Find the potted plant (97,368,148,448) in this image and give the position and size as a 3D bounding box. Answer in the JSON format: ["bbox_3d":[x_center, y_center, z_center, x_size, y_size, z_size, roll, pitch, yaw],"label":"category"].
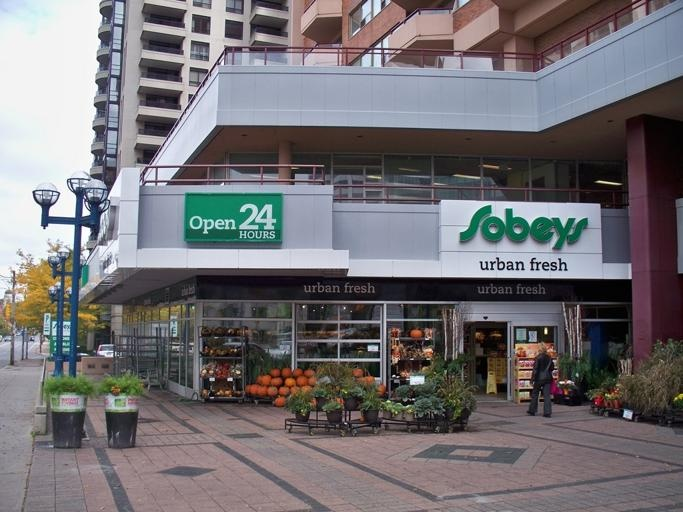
[{"bbox_3d":[-4.713,3.225,13.363,0.831,1.515,0.645,3,-6,-31],"label":"potted plant"}]

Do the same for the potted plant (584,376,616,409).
[{"bbox_3d":[7.711,4.058,18.475,1.056,0.821,1.182,-1,-4,8],"label":"potted plant"}]

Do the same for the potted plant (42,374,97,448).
[{"bbox_3d":[-5.725,3.224,13.279,1.001,1.441,0.912,7,-2,-36],"label":"potted plant"}]

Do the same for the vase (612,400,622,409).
[{"bbox_3d":[7.706,4.116,17.769,0.211,0.209,0.206,3,-11,-8],"label":"vase"}]

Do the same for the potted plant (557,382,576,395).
[{"bbox_3d":[7.229,4.261,20.613,0.248,0.449,0.674,5,-7,-41],"label":"potted plant"}]

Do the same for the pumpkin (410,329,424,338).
[{"bbox_3d":[2.449,2.566,21.247,0.286,0.252,0.281,2,-4,8],"label":"pumpkin"}]

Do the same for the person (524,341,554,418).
[{"bbox_3d":[5.899,3.611,18.627,0.947,1.936,0.700,2,-3,-33],"label":"person"}]
